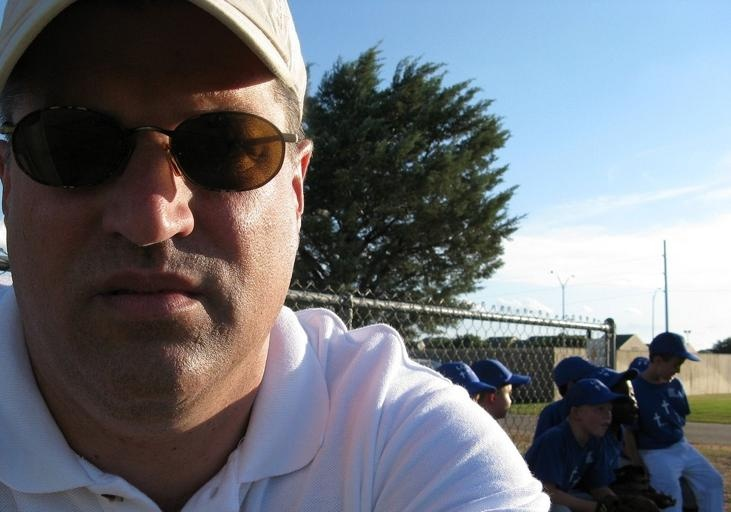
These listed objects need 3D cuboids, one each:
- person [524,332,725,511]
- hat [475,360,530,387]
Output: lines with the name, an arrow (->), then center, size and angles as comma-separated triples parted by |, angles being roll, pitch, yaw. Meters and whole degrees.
person -> 2.193, 1.150, 6.028 | 1.295, 0.737, 0.806 | -4, -22, 28
hat -> 1.236, 1.047, 6.270 | 0.442, 0.191, 0.302 | 3, 1, -12
